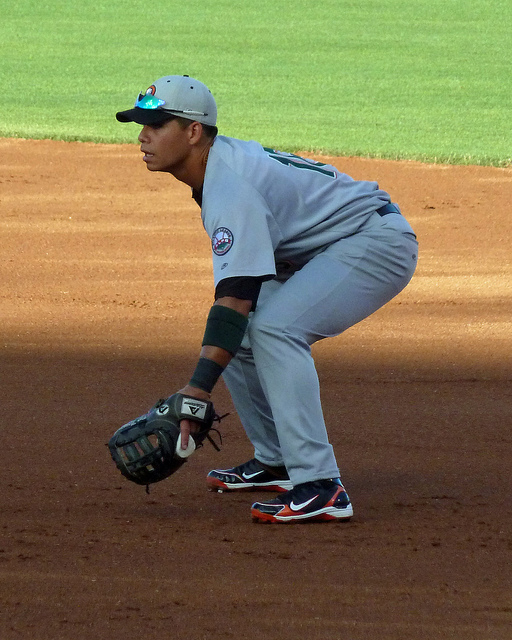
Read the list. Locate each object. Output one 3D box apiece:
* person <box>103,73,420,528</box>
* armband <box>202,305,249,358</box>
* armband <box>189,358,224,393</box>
[{"bbox_3d":[0.046,-0.077,3.820,1.017,1.531,0.843,4,23,5],"label":"person"},{"bbox_3d":[-0.105,0.012,3.631,0.208,0.154,0.152,-17,28,-35],"label":"armband"},{"bbox_3d":[-0.169,0.183,3.629,0.111,0.127,0.049,1,24,0],"label":"armband"}]
